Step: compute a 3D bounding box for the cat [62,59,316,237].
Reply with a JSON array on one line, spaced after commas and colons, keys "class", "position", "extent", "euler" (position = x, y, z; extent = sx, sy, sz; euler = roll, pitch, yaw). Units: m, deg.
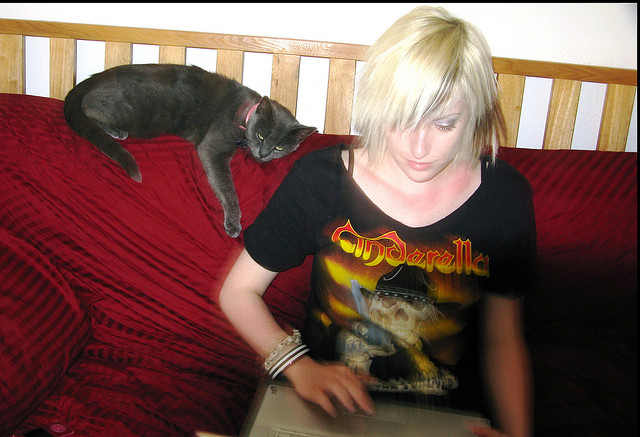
[{"class": "cat", "position": [-0.547, -0.319, 1.945], "extent": [0.899, 0.328, 0.695], "euler": [19, 35, -3]}]

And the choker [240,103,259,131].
[{"class": "choker", "position": [-0.278, -0.408, 2.080], "extent": [0.024, 0.090, 0.095], "euler": [36, 1, -1]}]

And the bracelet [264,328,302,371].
[{"class": "bracelet", "position": [-0.130, 0.431, 1.707], "extent": [0.105, 0.124, 0.038], "euler": [49, 1, 36]}]

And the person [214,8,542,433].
[{"class": "person", "position": [0.241, 0.007, 1.673], "extent": [1.073, 1.329, 0.520], "euler": [3, 14, -10]}]
